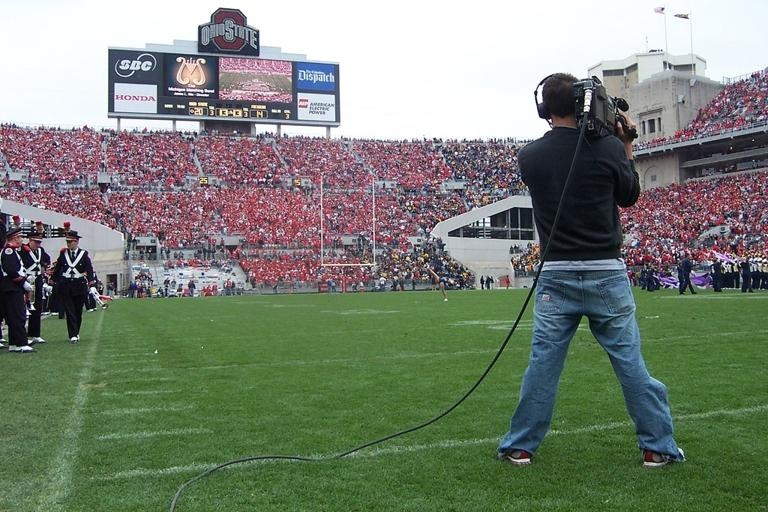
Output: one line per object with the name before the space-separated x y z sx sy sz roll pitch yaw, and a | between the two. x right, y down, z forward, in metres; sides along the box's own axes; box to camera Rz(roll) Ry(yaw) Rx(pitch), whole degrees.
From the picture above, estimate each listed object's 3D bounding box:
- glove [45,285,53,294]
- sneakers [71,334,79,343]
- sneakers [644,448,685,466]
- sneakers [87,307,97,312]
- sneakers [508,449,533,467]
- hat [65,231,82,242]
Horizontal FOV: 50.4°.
glove | -6.351 0.627 15.454 0.193 0.178 0.210 0 -12 -17
sneakers | -5.182 1.384 13.677 0.102 0.112 0.265 0 -13 -19
sneakers | 2.667 1.905 7.772 0.158 0.157 0.405 -5 -5 42
sneakers | -8.122 1.509 22.708 0.130 0.145 0.377 2 -13 -45
sneakers | 1.310 1.929 7.822 0.111 0.098 0.231 0 -4 1
hat | -5.199 -0.351 13.661 0.231 0.108 0.245 1 -3 9
